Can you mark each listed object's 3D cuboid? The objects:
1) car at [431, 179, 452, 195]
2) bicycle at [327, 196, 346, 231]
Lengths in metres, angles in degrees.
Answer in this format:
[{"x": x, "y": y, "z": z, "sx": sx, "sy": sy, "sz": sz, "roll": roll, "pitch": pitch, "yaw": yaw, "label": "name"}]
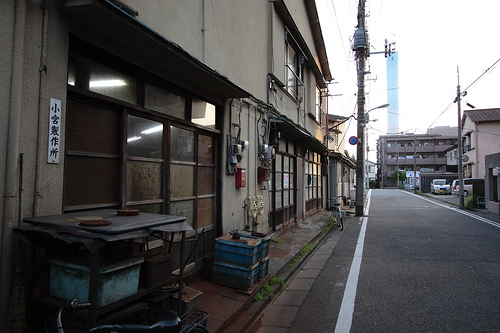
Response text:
[{"x": 19.471, "y": 2.669, "z": 38.948, "sx": 1.565, "sy": 1.462, "sz": 2.690, "roll": 2, "pitch": 5, "yaw": 23, "label": "car"}, {"x": 3.248, "y": 2.036, "z": 13.991, "sx": 0.658, "sy": 0.903, "sz": 1.438, "roll": -3, "pitch": 2, "yaw": 9, "label": "bicycle"}]
